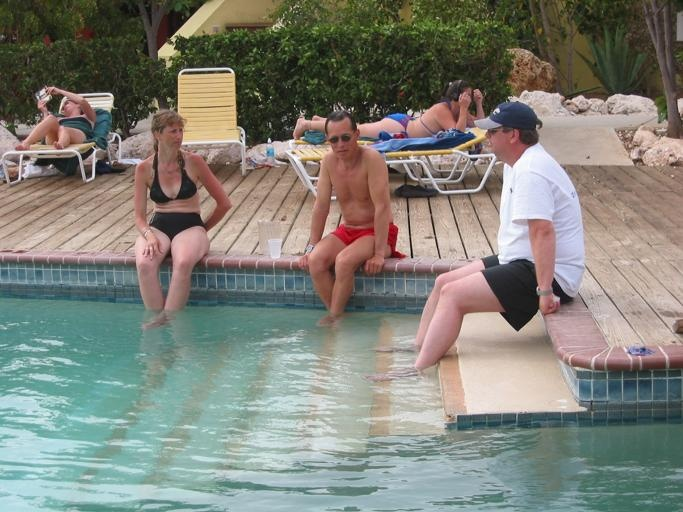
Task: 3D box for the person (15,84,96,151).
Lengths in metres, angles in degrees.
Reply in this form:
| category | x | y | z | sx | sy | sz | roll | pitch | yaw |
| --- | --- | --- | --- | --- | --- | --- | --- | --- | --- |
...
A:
| category | x | y | z | sx | sy | sz | roll | pitch | yaw |
| --- | --- | --- | --- | --- | --- | --- | --- | --- | --- |
| person | -4.013 | -1.952 | 9.001 | 0.732 | 0.761 | 1.446 | -3 | 16 | 3 |

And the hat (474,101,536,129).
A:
| category | x | y | z | sx | sy | sz | roll | pitch | yaw |
| --- | --- | --- | --- | --- | --- | --- | --- | --- | --- |
| hat | 1.045 | -0.900 | 4.073 | 0.315 | 0.102 | 0.184 | 1 | 12 | 8 |

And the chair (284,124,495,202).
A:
| category | x | y | z | sx | sy | sz | roll | pitch | yaw |
| --- | --- | --- | --- | --- | --- | --- | --- | --- | --- |
| chair | 0.650 | -1.110 | 7.967 | 2.351 | 0.592 | 1.211 | 0 | 22 | 2 |

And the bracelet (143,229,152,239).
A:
| category | x | y | z | sx | sy | sz | roll | pitch | yaw |
| --- | --- | --- | --- | --- | --- | --- | --- | --- | --- |
| bracelet | -1.680 | -0.196 | 5.534 | 0.065 | 0.071 | 0.044 | 2 | -12 | 2 |

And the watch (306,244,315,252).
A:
| category | x | y | z | sx | sy | sz | roll | pitch | yaw |
| --- | --- | --- | --- | --- | --- | --- | --- | --- | --- |
| watch | -0.273 | -0.061 | 5.344 | 0.054 | 0.025 | 0.067 | 11 | 60 | 47 |

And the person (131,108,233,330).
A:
| category | x | y | z | sx | sy | sz | roll | pitch | yaw |
| --- | --- | --- | --- | --- | --- | --- | --- | --- | --- |
| person | -1.534 | -0.376 | 5.523 | 0.628 | 1.708 | 1.004 | 2 | 14 | 27 |

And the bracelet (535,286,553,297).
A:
| category | x | y | z | sx | sy | sz | roll | pitch | yaw |
| --- | --- | --- | --- | --- | --- | --- | --- | --- | --- |
| bracelet | 1.259 | 0.217 | 3.976 | 0.078 | 0.034 | 0.057 | 4 | 7 | 19 |

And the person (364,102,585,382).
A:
| category | x | y | z | sx | sy | sz | roll | pitch | yaw |
| --- | --- | --- | --- | --- | --- | --- | --- | --- | --- |
| person | 0.905 | -0.058 | 4.292 | 1.543 | 1.771 | 0.877 | -4 | 12 | 2 |

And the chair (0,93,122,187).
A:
| category | x | y | z | sx | sy | sz | roll | pitch | yaw |
| --- | --- | --- | --- | --- | --- | --- | --- | --- | --- |
| chair | -4.027 | -1.708 | 9.308 | 1.237 | 1.001 | 2.076 | 1 | 16 | 10 |
